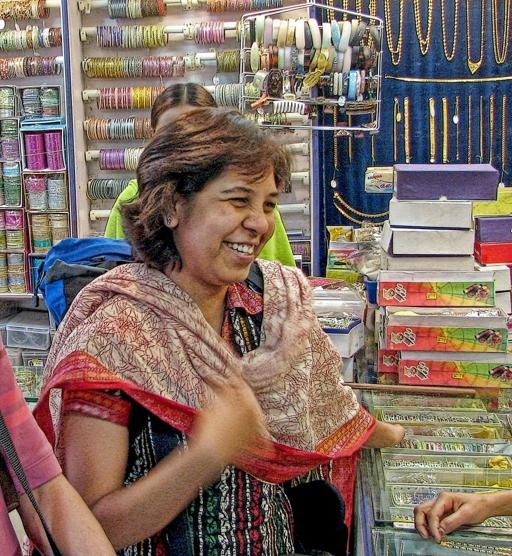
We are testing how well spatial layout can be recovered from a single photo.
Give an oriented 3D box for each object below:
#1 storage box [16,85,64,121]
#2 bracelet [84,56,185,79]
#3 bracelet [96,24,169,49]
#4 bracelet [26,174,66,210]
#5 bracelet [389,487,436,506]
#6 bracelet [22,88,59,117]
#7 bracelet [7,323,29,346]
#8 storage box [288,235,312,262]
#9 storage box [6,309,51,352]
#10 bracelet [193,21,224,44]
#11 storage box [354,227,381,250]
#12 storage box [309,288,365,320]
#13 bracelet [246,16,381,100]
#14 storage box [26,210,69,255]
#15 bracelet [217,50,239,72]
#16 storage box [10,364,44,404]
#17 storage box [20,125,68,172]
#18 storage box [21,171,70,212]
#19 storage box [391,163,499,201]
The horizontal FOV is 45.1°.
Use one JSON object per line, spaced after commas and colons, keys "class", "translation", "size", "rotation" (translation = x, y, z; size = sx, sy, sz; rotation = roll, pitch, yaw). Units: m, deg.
{"class": "storage box", "translation": [-1.264, -1.022, 3.652], "size": [0.335, 0.218, 0.173], "rotation": [0, 5, 0]}
{"class": "bracelet", "translation": [-0.713, -1.222, 3.587], "size": [0.544, 0.134, 0.143], "rotation": [0, 31, 1]}
{"class": "bracelet", "translation": [-0.729, -1.416, 3.615], "size": [0.422, 0.115, 0.108], "rotation": [-1, 8, 5]}
{"class": "bracelet", "translation": [-1.204, -0.482, 3.696], "size": [0.292, 0.250, 0.204], "rotation": [-1, 3, -4]}
{"class": "bracelet", "translation": [0.360, 0.495, 1.396], "size": [0.076, 0.020, 0.048], "rotation": [0, -2, 0]}
{"class": "bracelet", "translation": [-1.270, -1.029, 3.613], "size": [0.190, 0.124, 0.188], "rotation": [14, 21, 35]}
{"class": "bracelet", "translation": [-1.491, 0.361, 3.912], "size": [0.144, 0.094, 0.136], "rotation": [2, 2, 10]}
{"class": "storage box", "translation": [0.251, -0.167, 3.799], "size": [0.213, 0.179, 0.142], "rotation": [-1, 1, -1]}
{"class": "storage box", "translation": [-1.429, 0.345, 3.889], "size": [0.270, 0.143, 0.254], "rotation": [4, 10, 6]}
{"class": "bracelet", "translation": [-0.268, -1.405, 3.560], "size": [0.163, 0.068, 0.115], "rotation": [-1, -17, 22]}
{"class": "storage box", "translation": [0.638, -0.226, 3.529], "size": [0.138, 0.050, 0.171], "rotation": [-2, 21, 11]}
{"class": "storage box", "translation": [0.298, 0.090, 2.263], "size": [0.166, 0.071, 0.116], "rotation": [0, 1, 10]}
{"class": "bracelet", "translation": [0.299, -1.002, 2.892], "size": [0.497, 0.277, 0.541], "rotation": [4, 2, 33]}
{"class": "storage box", "translation": [-1.224, -0.275, 3.753], "size": [0.284, 0.236, 0.186], "rotation": [1, 9, 8]}
{"class": "bracelet", "translation": [-0.166, -1.257, 3.570], "size": [0.131, 0.111, 0.229], "rotation": [-2, 8, -4]}
{"class": "storage box", "translation": [-0.616, 0.275, 1.669], "size": [0.067, 0.095, 0.073], "rotation": [-11, -16, 31]}
{"class": "storage box", "translation": [-1.276, -0.751, 3.625], "size": [0.256, 0.230, 0.144], "rotation": [-14, 29, -34]}
{"class": "storage box", "translation": [-1.207, -0.486, 3.673], "size": [0.318, 0.273, 0.213], "rotation": [-1, 5, -6]}
{"class": "storage box", "translation": [0.643, -0.325, 2.110], "size": [0.333, 0.130, 0.199], "rotation": [0, 8, 11]}
